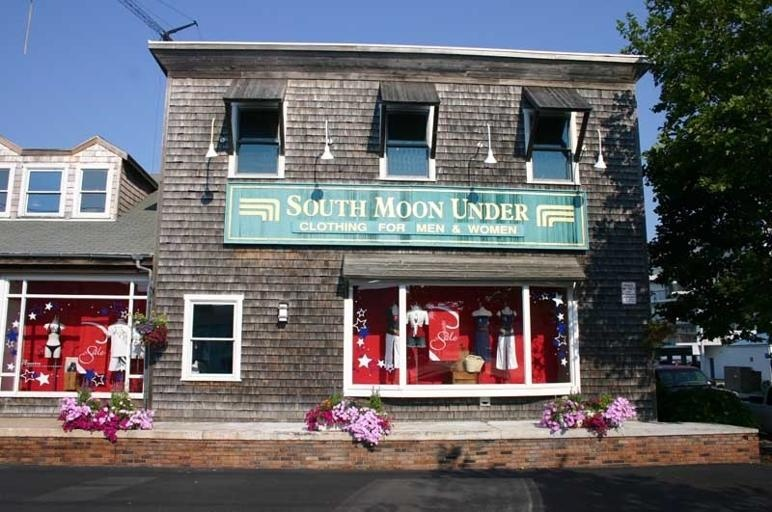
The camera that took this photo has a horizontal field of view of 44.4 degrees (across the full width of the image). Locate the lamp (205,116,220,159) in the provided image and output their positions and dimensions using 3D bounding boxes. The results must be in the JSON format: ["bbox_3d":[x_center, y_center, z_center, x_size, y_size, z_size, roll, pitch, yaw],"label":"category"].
[{"bbox_3d":[-4.948,-3.400,26.960,0.389,1.293,0.526,1,-11,-5],"label":"lamp"}]

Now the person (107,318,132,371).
[{"bbox_3d":[-7.684,2.572,27.276,0.484,1.517,0.989,7,-13,-29],"label":"person"}]

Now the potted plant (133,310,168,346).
[{"bbox_3d":[-6.487,2.012,26.299,0.918,0.887,0.481,1,-11,-10],"label":"potted plant"}]

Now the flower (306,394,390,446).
[{"bbox_3d":[-0.925,4.439,25.191,2.171,1.329,0.673,1,-11,-4],"label":"flower"}]

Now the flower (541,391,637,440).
[{"bbox_3d":[5.400,4.265,25.381,1.512,0.780,1.465,0,-11,-5],"label":"flower"}]

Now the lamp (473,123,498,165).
[{"bbox_3d":[3.031,-3.213,27.192,0.607,1.323,0.672,4,-12,-17],"label":"lamp"}]

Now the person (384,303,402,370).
[{"bbox_3d":[0.188,2.288,26.686,0.480,1.894,0.170,-3,-12,16],"label":"person"}]

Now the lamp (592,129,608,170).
[{"bbox_3d":[6.242,-3.105,27.466,0.371,1.259,0.664,-2,-11,12],"label":"lamp"}]

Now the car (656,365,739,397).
[{"bbox_3d":[11.017,4.483,34.992,2.059,0.964,1.530,7,-13,-32],"label":"car"}]

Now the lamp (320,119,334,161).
[{"bbox_3d":[-1.646,-3.323,26.924,0.390,1.322,0.680,1,-11,-3],"label":"lamp"}]

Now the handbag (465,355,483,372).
[{"bbox_3d":[2.509,3.057,26.813,0.476,0.328,0.385,3,-11,-15],"label":"handbag"}]

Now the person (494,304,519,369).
[{"bbox_3d":[3.463,2.354,26.978,0.620,1.872,0.200,-1,-11,6],"label":"person"}]

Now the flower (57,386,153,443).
[{"bbox_3d":[-7.380,4.249,25.233,1.915,1.090,1.424,1,-4,8],"label":"flower"}]

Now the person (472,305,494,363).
[{"bbox_3d":[2.781,2.212,27.041,0.538,1.574,0.241,-1,-11,5],"label":"person"}]
